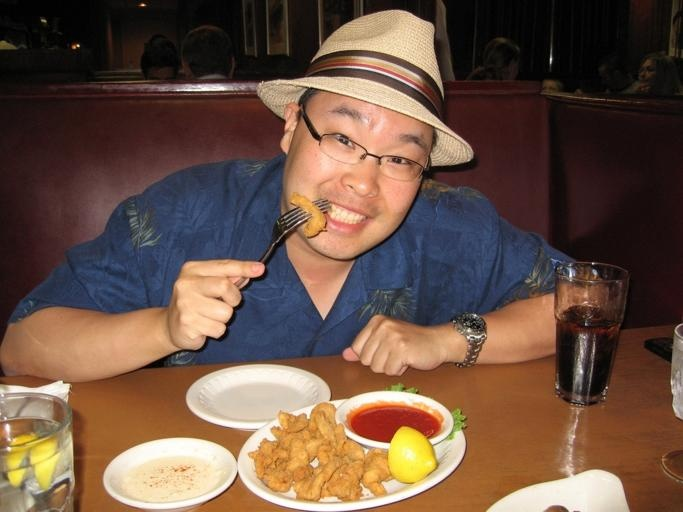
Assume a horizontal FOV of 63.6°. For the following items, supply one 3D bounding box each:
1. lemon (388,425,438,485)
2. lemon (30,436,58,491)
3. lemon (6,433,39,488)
[{"bbox_3d":[0.164,0.476,1.360,0.099,0.103,0.127,-18,46,-30],"label":"lemon"},{"bbox_3d":[-0.575,0.397,1.070,0.051,0.096,0.021,-8,6,-43],"label":"lemon"},{"bbox_3d":[-0.635,0.387,1.094,0.059,0.083,0.105,-11,19,-32],"label":"lemon"}]
